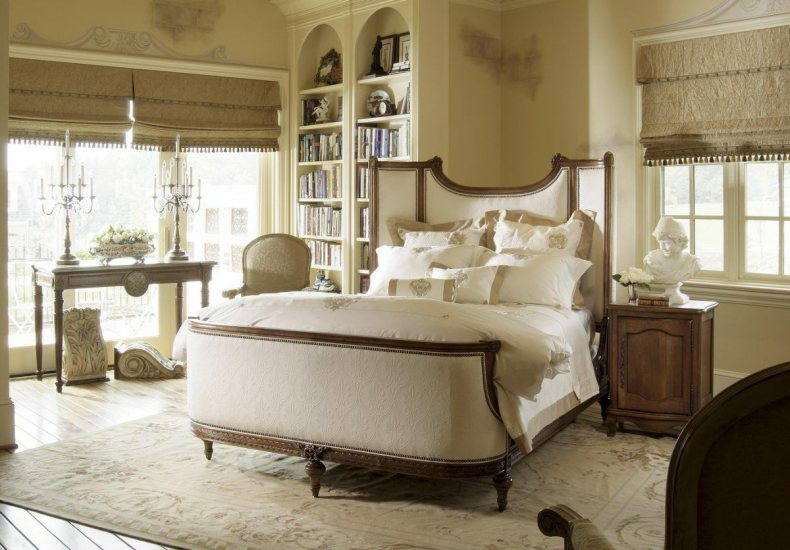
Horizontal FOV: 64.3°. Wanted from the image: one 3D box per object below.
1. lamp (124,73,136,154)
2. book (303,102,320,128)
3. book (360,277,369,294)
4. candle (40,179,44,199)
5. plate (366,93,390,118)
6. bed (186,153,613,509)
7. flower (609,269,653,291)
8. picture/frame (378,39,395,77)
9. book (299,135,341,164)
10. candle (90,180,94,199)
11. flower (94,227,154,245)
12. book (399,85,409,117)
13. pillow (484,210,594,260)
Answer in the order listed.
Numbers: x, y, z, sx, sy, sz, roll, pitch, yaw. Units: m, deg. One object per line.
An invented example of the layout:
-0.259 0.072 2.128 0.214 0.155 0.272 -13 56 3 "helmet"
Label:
-2.543 -1.568 6.028 0.115 0.703 0.055 -3 7 -23 "lamp"
-0.907 -1.710 6.696 0.224 0.243 0.056 -5 -7 13 "book"
-0.297 0.102 6.109 0.080 0.149 0.159 0 0 16 "book"
-2.915 -0.702 5.192 0.020 0.158 0.093 -3 7 -22 "candle"
-0.164 -1.692 6.262 0.156 0.282 0.294 -5 9 -39 "plate"
0.208 0.179 4.355 2.190 2.131 2.381 1 2 30 "bed"
1.706 0.028 4.537 0.178 0.090 0.183 8 11 39 "flower"
-0.075 -2.161 6.190 0.067 0.368 0.214 -5 8 -37 "picture/frame"
-0.788 -1.310 6.649 0.401 0.141 0.309 2 5 35 "book"
-2.621 -0.734 5.409 0.016 0.156 0.227 -4 8 -31 "candle"
-2.459 -0.342 5.648 0.276 0.112 0.231 1 -1 5 "flower"
0.087 -1.659 5.997 0.083 0.295 0.248 -1 7 -11 "book"
1.047 -0.304 4.650 0.492 0.477 0.156 4 -29 32 "pillow"
